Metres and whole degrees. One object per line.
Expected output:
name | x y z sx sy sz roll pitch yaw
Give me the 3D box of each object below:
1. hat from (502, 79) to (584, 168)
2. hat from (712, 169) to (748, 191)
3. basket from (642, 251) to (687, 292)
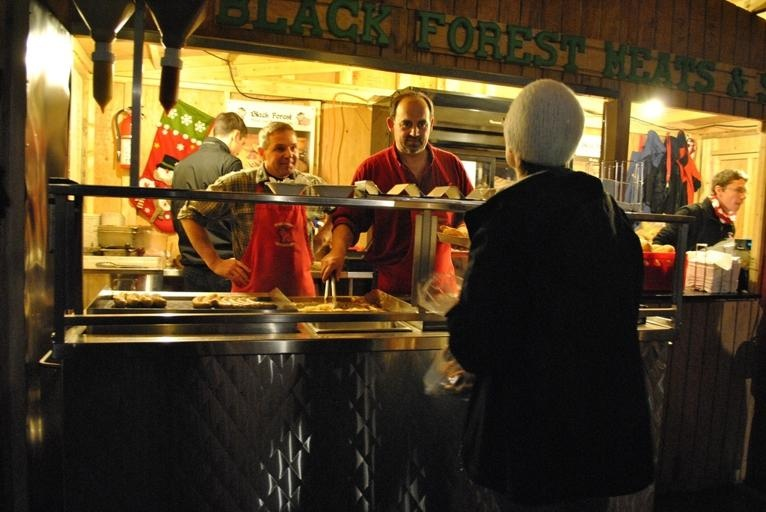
hat | 0.678 -0.606 3.300 0.300 0.368 0.387 2 25 4
hat | 2.773 -0.598 5.888 0.171 0.210 0.213 0 -4 -10
basket | 1.552 0.095 4.088 0.232 0.231 0.173 0 -1 -2
